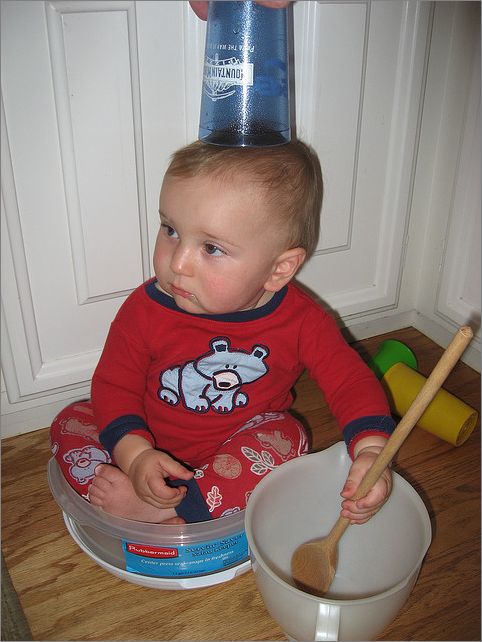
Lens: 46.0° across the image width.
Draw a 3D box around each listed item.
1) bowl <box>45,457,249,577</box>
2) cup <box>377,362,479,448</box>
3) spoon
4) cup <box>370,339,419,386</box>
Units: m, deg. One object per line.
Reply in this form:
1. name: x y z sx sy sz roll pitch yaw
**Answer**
1. bowl: -0.112 0.322 0.888 0.292 0.092 0.282 4 3 0
2. cup: 0.315 0.149 0.966 0.114 0.088 0.161 -32 47 -18
3. spoon: 0.146 0.189 0.668 0.128 0.436 0.124 -18 34 -33
4. cup: 0.316 0.076 1.200 0.074 0.087 0.089 -21 73 -40
